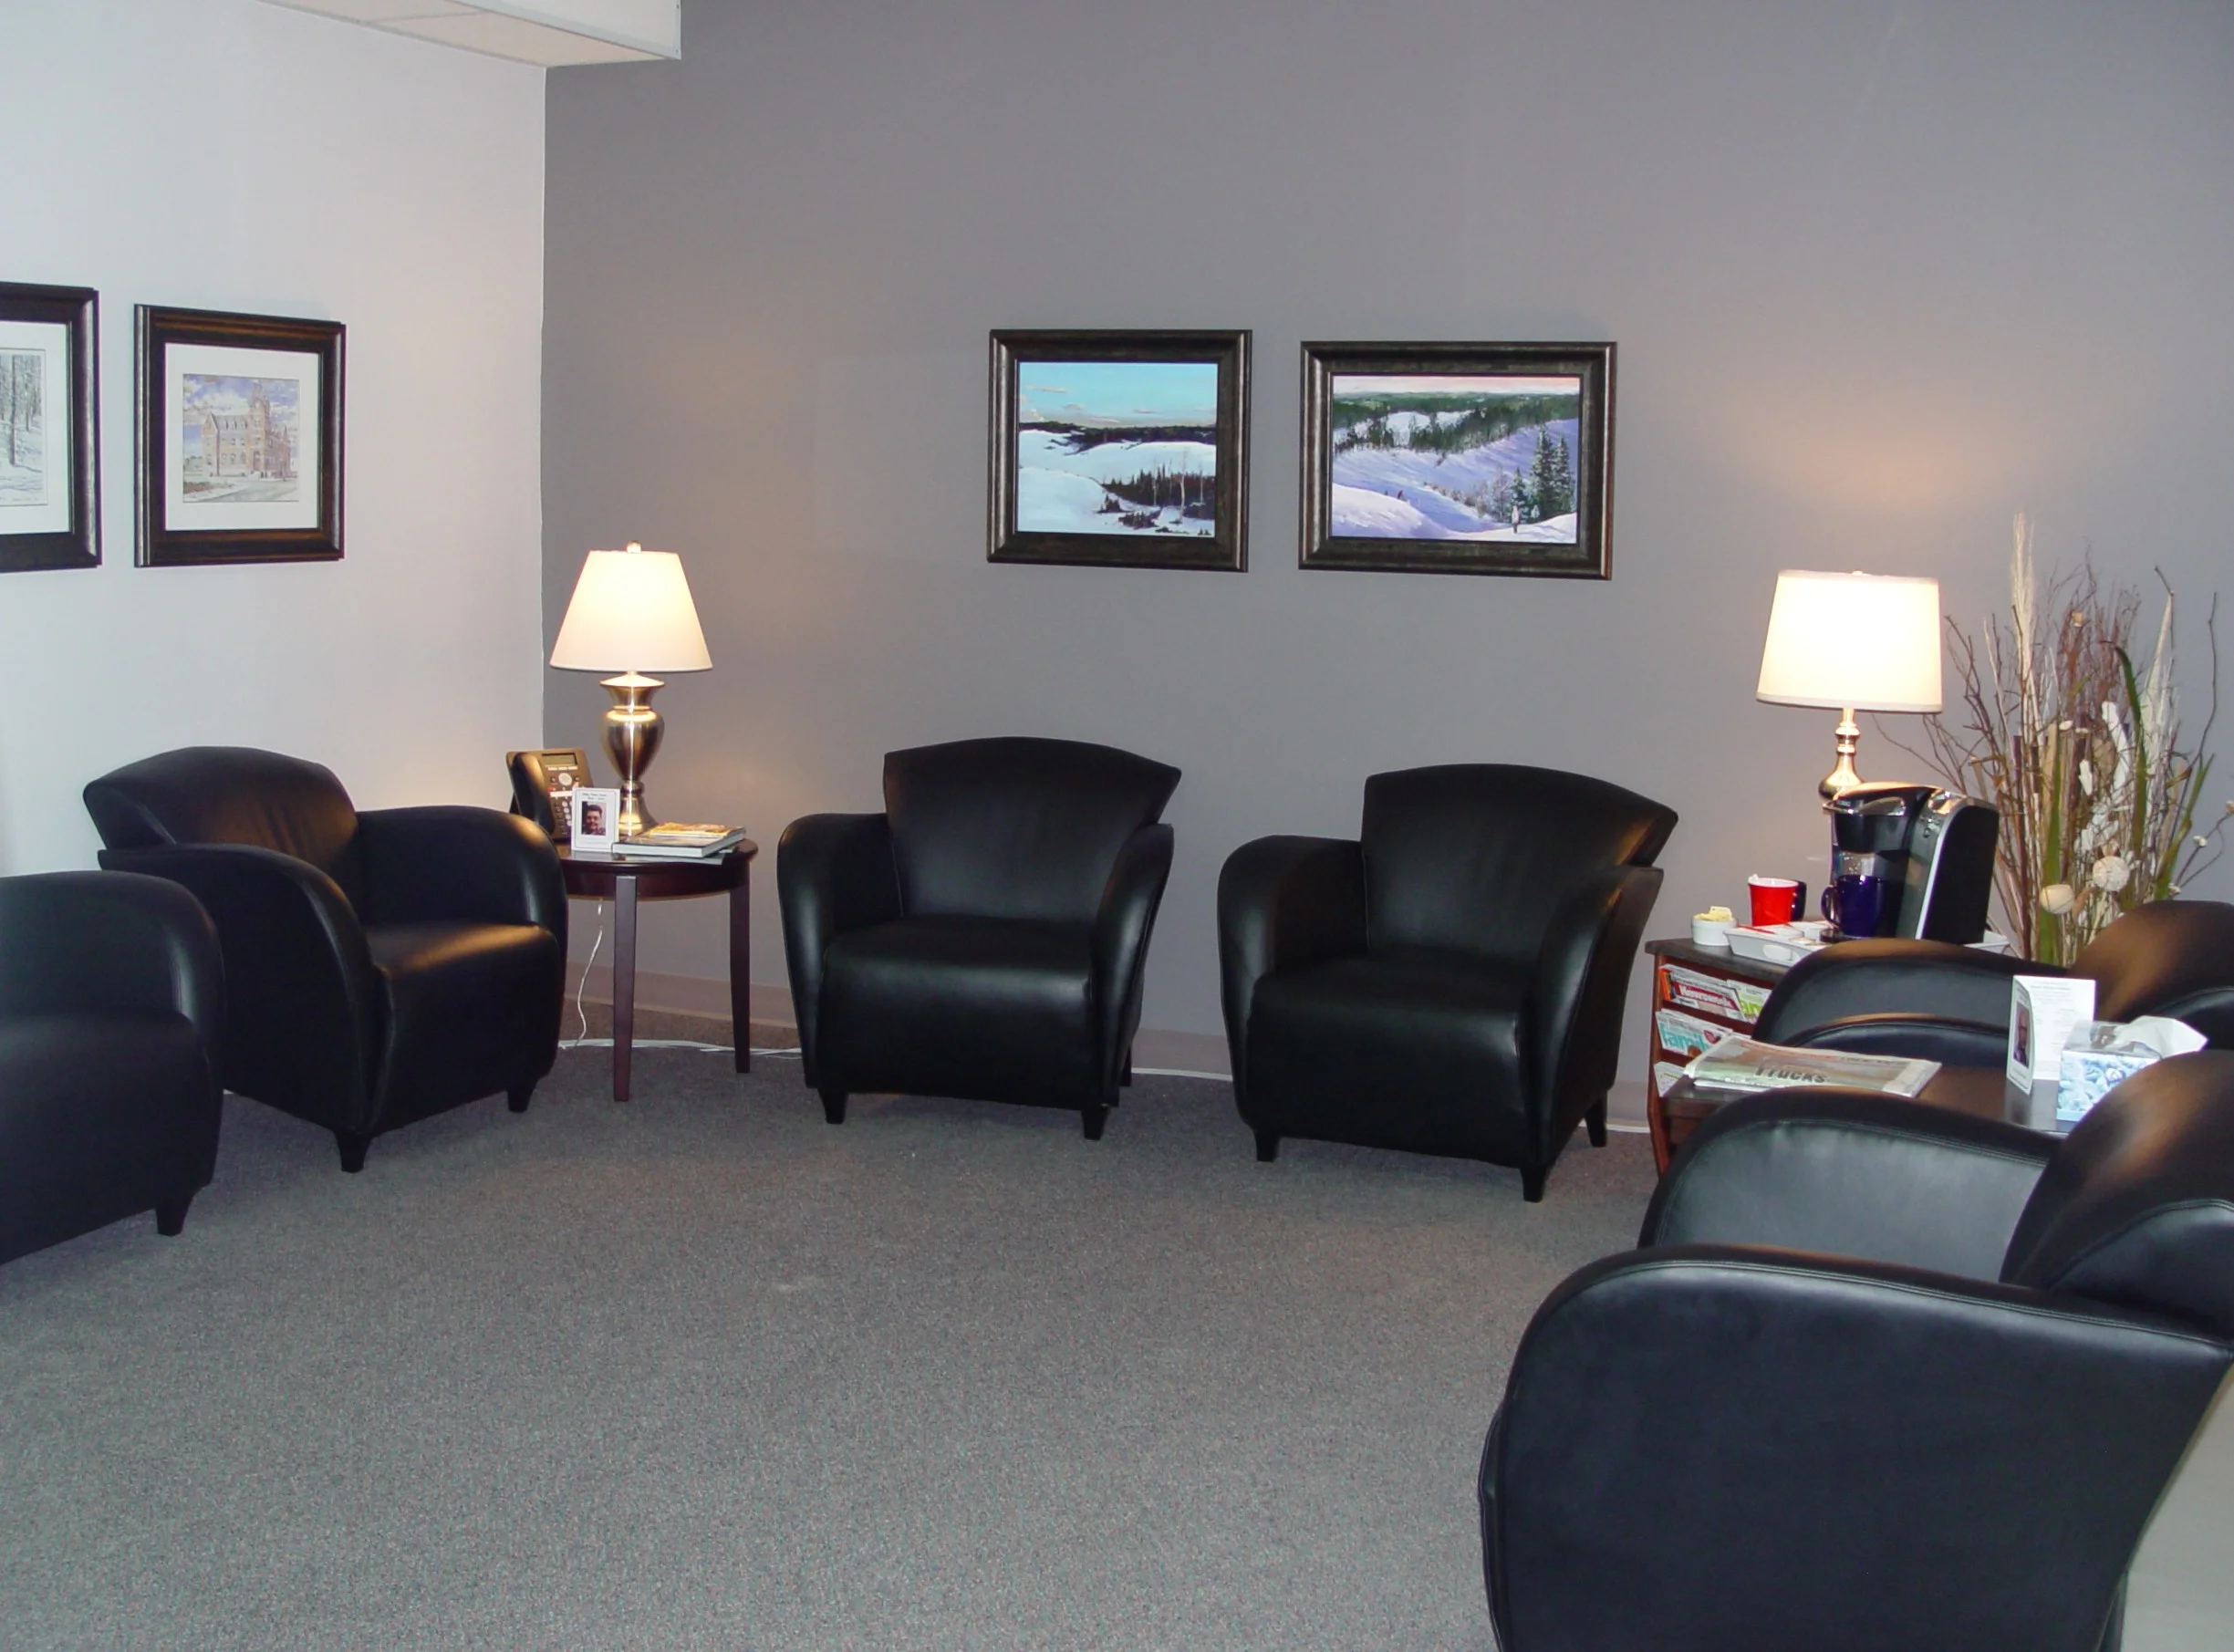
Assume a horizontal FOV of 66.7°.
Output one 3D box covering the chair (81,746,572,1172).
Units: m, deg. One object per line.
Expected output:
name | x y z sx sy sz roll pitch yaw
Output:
chair | -2.289 0.203 5.019 1.221 1.168 1.046 7 11 25

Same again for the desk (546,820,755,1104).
desk | -1.495 0.387 5.520 0.589 0.774 0.951 -2 12 -19

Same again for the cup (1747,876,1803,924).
cup | 1.790 0.202 4.623 0.145 0.116 0.131 1 0 23

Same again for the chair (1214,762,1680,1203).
chair | 0.917 0.403 5.014 1.222 1.267 1.161 4 4 30

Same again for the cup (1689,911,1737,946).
cup | 1.595 0.274 4.540 0.083 0.088 0.092 -1 -6 31

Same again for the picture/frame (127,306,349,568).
picture/frame | -2.739 -1.211 5.239 0.060 0.873 0.830 5 6 32

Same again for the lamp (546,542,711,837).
lamp | -1.591 -0.466 5.598 0.463 0.888 0.723 -2 12 -15

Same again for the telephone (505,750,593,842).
telephone | -1.828 -0.124 5.538 0.212 0.306 0.294 -2 -30 -18

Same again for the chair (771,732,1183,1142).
chair | -0.355 0.279 5.296 1.142 1.131 1.101 3 5 13

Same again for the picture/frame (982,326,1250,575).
picture/frame | 0.033 -1.249 5.547 0.770 0.717 0.060 1 3 13
